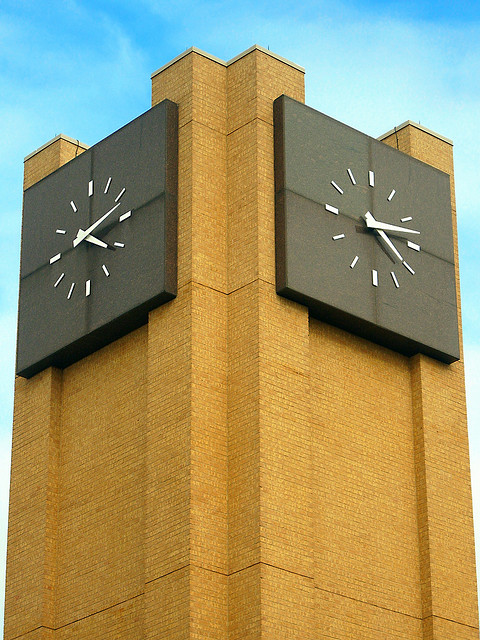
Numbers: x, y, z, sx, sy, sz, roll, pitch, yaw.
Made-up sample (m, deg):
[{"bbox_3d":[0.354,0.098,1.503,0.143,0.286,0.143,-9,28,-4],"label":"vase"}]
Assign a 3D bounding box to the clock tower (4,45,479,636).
[{"bbox_3d":[0.072,1.253,38.618,6.637,11.492,6.950,18,-29,-36],"label":"clock tower"}]
